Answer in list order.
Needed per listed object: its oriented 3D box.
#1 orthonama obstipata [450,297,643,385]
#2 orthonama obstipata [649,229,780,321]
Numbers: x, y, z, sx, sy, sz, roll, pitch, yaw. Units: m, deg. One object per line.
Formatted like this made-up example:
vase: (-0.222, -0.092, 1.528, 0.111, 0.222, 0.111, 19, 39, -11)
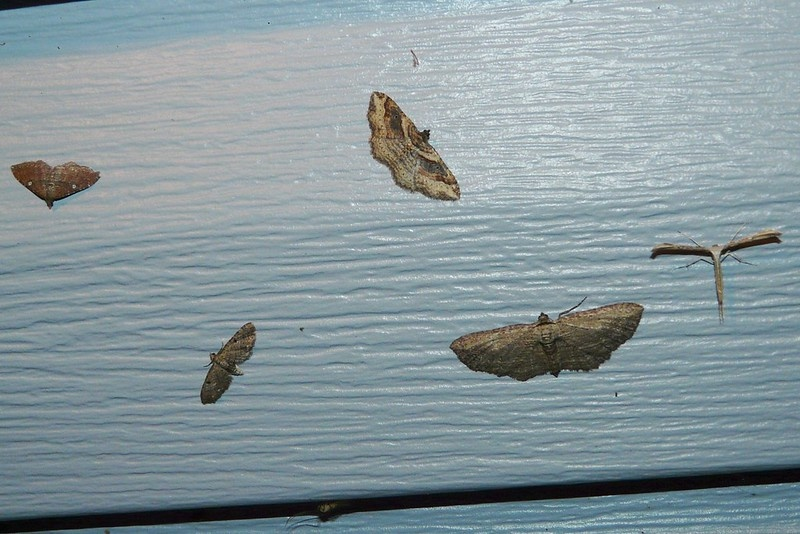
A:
orthonama obstipata: (0.520, 0.264, 7.161, 0.773, 0.200, 0.051, -14, -14, 29)
orthonama obstipata: (1.125, 0.041, 7.087, 0.530, 0.288, 0.076, -7, -10, 2)
